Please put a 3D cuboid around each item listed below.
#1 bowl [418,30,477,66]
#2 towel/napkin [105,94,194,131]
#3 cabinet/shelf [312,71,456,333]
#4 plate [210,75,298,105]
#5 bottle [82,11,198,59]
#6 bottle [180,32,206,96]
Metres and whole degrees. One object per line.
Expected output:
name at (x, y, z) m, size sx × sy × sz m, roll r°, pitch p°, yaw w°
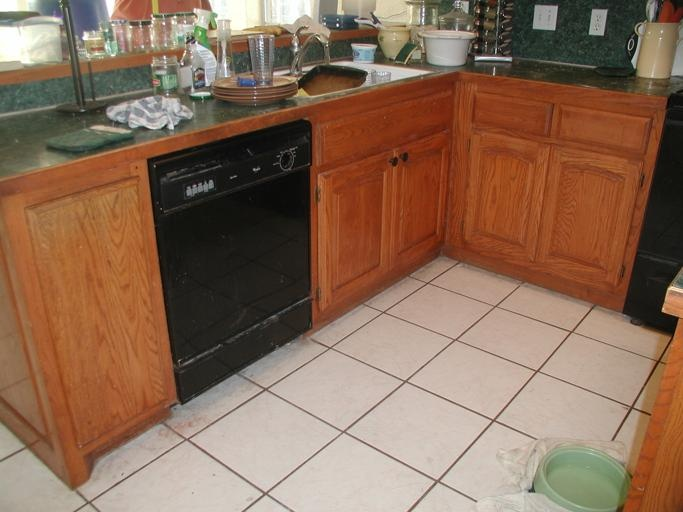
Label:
bowl at (0.589, -1.186, 2.851) m, size 0.200 × 0.183 × 0.278 m, roll -25°, pitch 36°, yaw -37°
towel/napkin at (-0.685, -0.514, 1.778) m, size 0.182 × 0.066 × 0.220 m, roll 24°, pitch 36°, yaw 29°
cabinet/shelf at (0.191, -0.280, 2.467) m, size 0.582 × 1.100 × 0.975 m, roll 24°, pitch 38°, yaw 37°
plate at (-0.364, -0.699, 2.099) m, size 0.348 × 0.083 × 0.293 m, roll -5°, pitch 28°, yaw -7°
bottle at (-0.899, -0.999, 2.250) m, size 0.530 × 0.155 × 0.158 m, roll -23°, pitch 35°, yaw -35°
bottle at (-0.644, -0.819, 2.131) m, size 0.114 × 0.232 × 0.197 m, roll -8°, pitch 29°, yaw -13°
